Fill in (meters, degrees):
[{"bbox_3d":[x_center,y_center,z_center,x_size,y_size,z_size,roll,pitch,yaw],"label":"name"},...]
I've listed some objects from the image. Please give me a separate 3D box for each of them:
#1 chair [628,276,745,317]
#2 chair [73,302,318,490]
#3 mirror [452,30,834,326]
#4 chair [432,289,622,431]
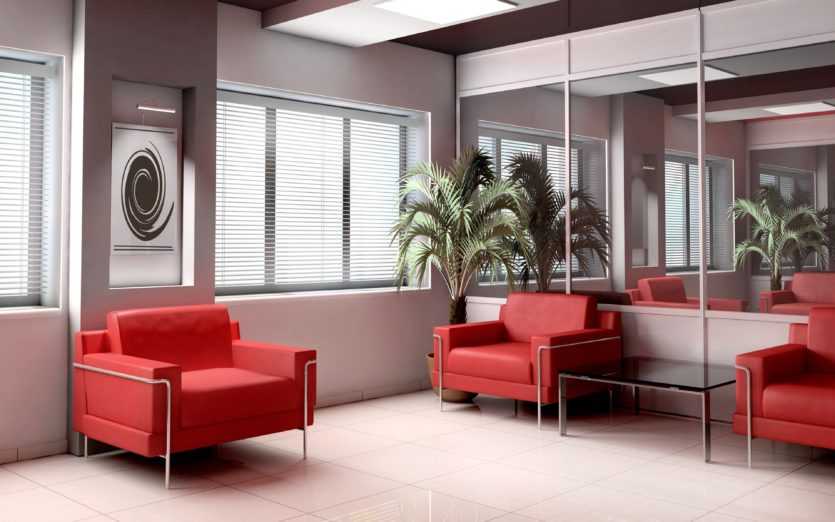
[{"bbox_3d":[3.262,0.448,6.837,0.510,0.578,0.707,1,-4,-38],"label":"chair"},{"bbox_3d":[-2.326,1.265,5.839,1.494,1.345,1.957,2,-1,37],"label":"chair"},{"bbox_3d":[3.176,-1.188,7.125,3.535,3.761,0.550,2,5,37],"label":"mirror"},{"bbox_3d":[1.436,1.118,7.223,1.492,1.242,1.936,0,-2,-39],"label":"chair"}]
